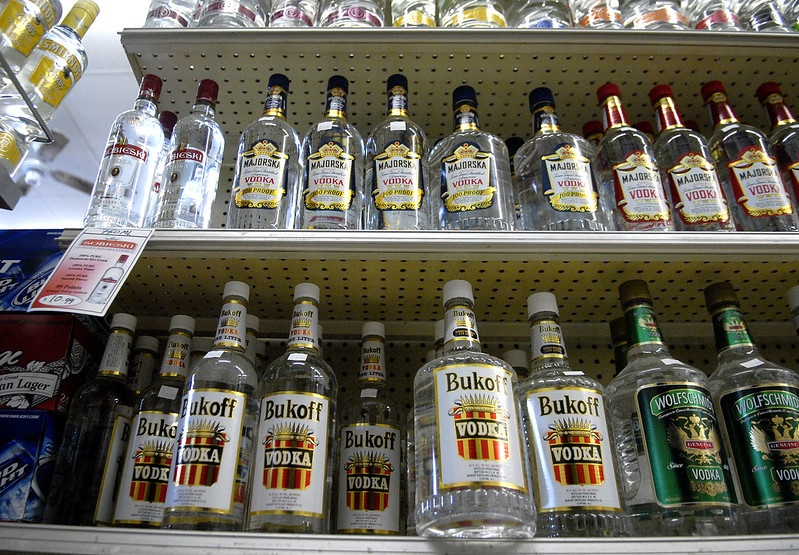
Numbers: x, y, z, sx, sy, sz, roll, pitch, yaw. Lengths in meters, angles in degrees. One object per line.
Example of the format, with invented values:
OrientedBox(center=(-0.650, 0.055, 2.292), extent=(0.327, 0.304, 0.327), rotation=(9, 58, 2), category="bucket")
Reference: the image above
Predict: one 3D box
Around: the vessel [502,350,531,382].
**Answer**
OrientedBox(center=(0.307, 0.247, 1.420), extent=(0.075, 0.082, 0.073), rotation=(10, -27, -18), category="vessel")

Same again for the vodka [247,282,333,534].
OrientedBox(center=(-0.225, 0.267, 1.160), extent=(0.162, 0.545, 0.082), rotation=(7, -30, -13), category="vodka")

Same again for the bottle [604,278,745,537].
OrientedBox(center=(0.578, 0.270, 1.173), extent=(0.215, 0.566, 0.139), rotation=(-11, -31, 17), category="bottle")

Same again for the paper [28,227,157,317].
OrientedBox(center=(-0.658, -0.018, 1.114), extent=(0.182, 0.245, 0.071), rotation=(1, -29, -3), category="paper")

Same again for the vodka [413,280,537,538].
OrientedBox(center=(0.139, 0.264, 1.118), extent=(0.238, 0.542, 0.173), rotation=(-6, -30, 10), category="vodka")

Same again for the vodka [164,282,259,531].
OrientedBox(center=(-0.394, 0.262, 1.154), extent=(0.163, 0.547, 0.099), rotation=(7, -30, -13), category="vodka")

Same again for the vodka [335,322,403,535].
OrientedBox(center=(-0.071, 0.339, 1.256), extent=(0.147, 0.511, 0.096), rotation=(2, -29, -4), category="vodka")
